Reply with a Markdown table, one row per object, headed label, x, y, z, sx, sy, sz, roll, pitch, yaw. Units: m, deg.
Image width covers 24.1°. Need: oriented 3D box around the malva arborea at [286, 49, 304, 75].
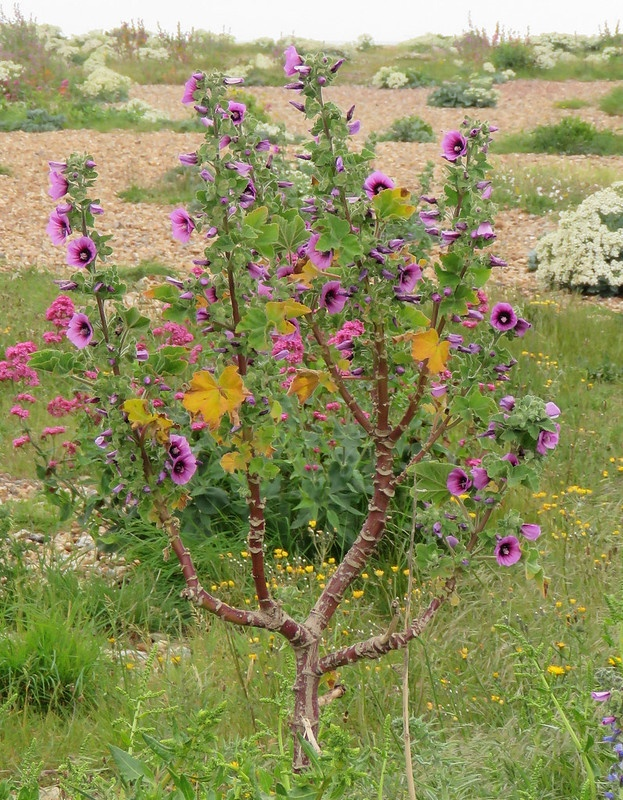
| label | x | y | z | sx | sy | sz | roll | pitch | yaw |
| --- | --- | --- | --- | --- | --- | --- | --- | --- | --- |
| malva arborea | -0.063 | -1.067 | 4.616 | 0.058 | 0.095 | 0.147 | -3 | 16 | -1 |
